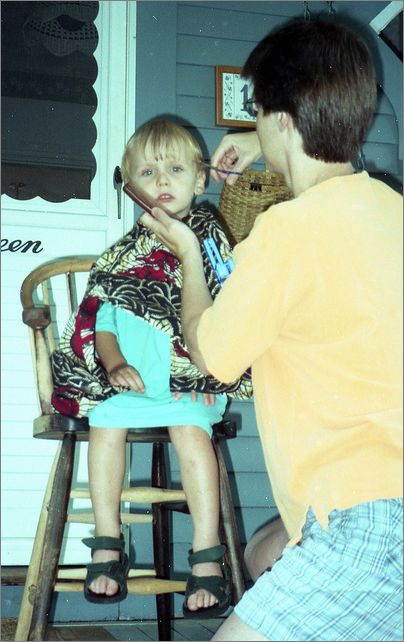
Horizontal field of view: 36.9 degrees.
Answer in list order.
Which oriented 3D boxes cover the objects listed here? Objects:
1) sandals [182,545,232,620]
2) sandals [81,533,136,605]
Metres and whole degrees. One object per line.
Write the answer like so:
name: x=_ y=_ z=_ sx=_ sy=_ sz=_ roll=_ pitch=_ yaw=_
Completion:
sandals: x=0.018 y=0.518 z=1.188 sx=0.066 sy=0.069 sz=0.186 roll=-3 pitch=-5 yaw=2
sandals: x=-0.193 y=0.507 z=1.231 sx=0.069 sy=0.067 sz=0.180 roll=0 pitch=-3 yaw=-4
